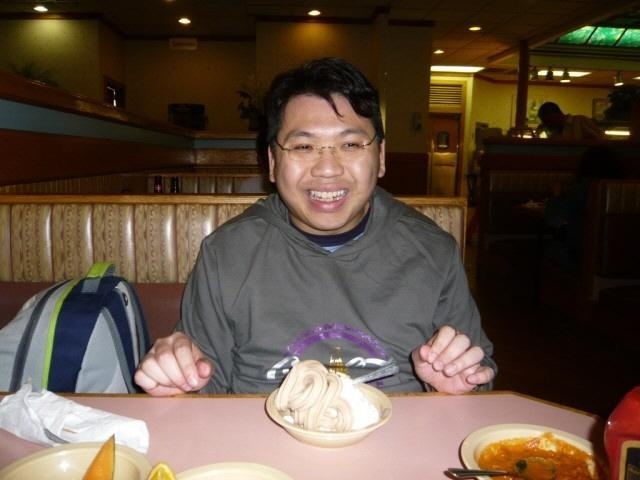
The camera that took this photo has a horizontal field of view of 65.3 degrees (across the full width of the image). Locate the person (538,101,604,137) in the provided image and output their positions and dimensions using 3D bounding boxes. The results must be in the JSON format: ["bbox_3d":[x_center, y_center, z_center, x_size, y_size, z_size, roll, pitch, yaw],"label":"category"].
[{"bbox_3d":[3.852,-1.826,7.680,0.840,0.523,1.013,7,13,29],"label":"person"}]

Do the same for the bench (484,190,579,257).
[{"bbox_3d":[2.663,-0.169,5.696,0.934,0.222,0.947,20,35,40],"label":"bench"}]

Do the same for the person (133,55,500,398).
[{"bbox_3d":[0.014,0.035,1.818,1.344,1.212,0.720,-2,12,-2],"label":"person"}]

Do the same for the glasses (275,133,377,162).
[{"bbox_3d":[0.020,-0.317,1.734,0.325,0.069,0.095,1,11,6],"label":"glasses"}]

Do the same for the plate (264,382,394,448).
[{"bbox_3d":[0.026,0.442,1.225,0.303,0.085,0.171,-2,11,-11],"label":"plate"}]
